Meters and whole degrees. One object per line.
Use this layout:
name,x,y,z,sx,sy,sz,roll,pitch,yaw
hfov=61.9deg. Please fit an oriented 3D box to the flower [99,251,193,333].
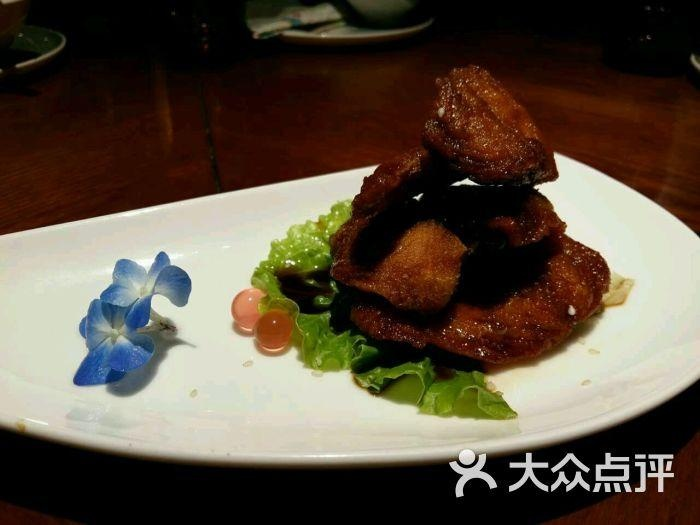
flower,-0.691,0.090,1.958,0.253,0.114,0.297,-13,43,-17

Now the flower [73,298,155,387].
flower,-0.757,0.247,1.841,0.237,0.130,0.257,-15,53,-10
